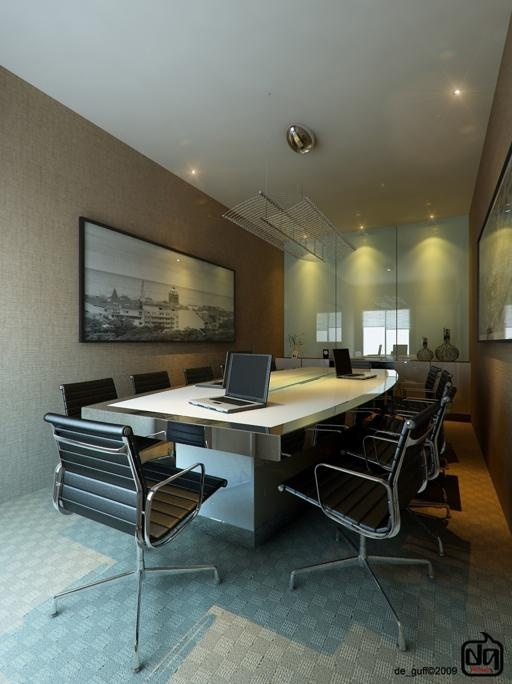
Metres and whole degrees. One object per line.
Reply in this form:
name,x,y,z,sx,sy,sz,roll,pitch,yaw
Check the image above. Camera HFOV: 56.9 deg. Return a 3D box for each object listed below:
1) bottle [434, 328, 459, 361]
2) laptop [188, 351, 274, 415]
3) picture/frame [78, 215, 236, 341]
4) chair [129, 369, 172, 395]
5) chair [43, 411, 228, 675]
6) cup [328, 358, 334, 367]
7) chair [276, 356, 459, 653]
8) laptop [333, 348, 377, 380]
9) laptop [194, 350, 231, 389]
bottle,2.381,0.022,5.895,0.280,0.383,0.405,2,7,23
laptop,-0.109,0.200,2.381,0.257,0.289,0.343,13,-7,-37
picture/frame,-0.984,-0.478,4.299,0.043,1.107,1.710,2,7,25
chair,-0.768,0.275,3.416,0.195,0.218,0.180,-10,-8,43
chair,-0.463,0.661,1.854,0.654,0.863,0.589,-4,7,-29
cup,1.008,0.268,6.317,0.083,0.160,0.086,-1,-1,0
chair,0.518,0.592,2.511,0.942,1.444,0.913,3,4,35
laptop,0.780,0.187,3.777,0.233,0.226,0.336,-2,-3,26
laptop,-0.246,0.174,2.898,0.271,0.241,0.289,2,-2,10
